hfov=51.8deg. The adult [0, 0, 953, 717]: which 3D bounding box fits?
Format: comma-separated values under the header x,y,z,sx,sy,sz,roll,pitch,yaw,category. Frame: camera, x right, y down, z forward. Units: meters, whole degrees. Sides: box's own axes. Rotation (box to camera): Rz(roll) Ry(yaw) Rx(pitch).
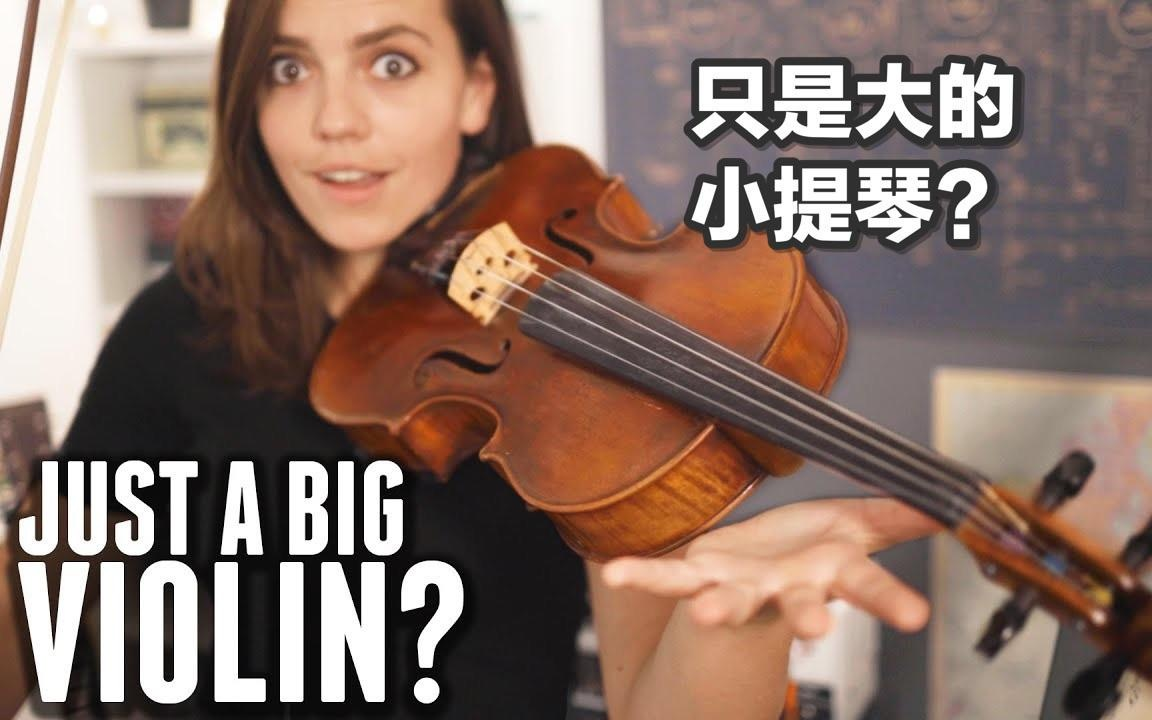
x,y,z,sx,sy,sz,roll,pitch,yaw,category
-0.148,-0.090,2.581,2.470,0.975,0.373,24,-11,31,adult
